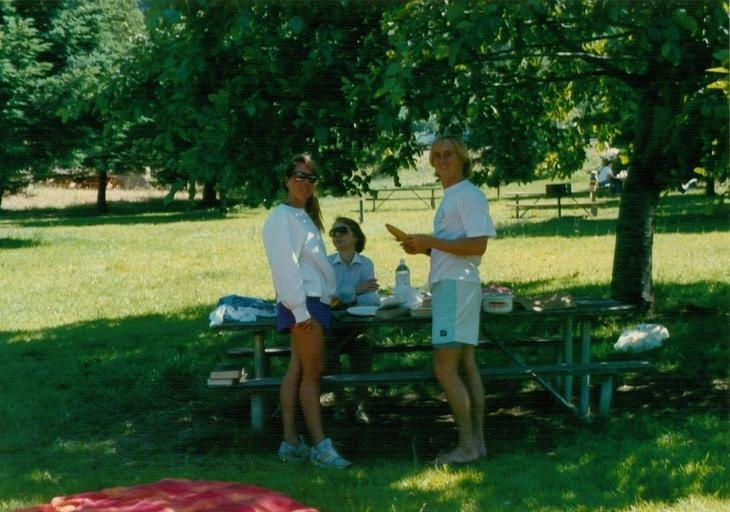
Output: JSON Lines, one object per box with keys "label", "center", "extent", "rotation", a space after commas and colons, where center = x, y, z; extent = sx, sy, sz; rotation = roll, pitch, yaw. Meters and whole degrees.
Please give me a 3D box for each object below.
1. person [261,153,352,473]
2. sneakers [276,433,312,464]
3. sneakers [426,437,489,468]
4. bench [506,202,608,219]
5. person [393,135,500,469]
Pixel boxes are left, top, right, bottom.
{"label": "person", "center": [-0.478, 0.428, 8.961], "extent": [0.644, 2.432, 0.442], "rotation": [-1, 1, -8]}
{"label": "sneakers", "center": [-0.557, 1.539, 8.968], "extent": [0.247, 0.169, 0.134], "rotation": [-3, 2, -8]}
{"label": "sneakers", "center": [0.715, 1.539, 8.862], "extent": [0.499, 0.218, 0.153], "rotation": [1, -11, 0]}
{"label": "bench", "center": [1.794, -0.415, 10.772], "extent": [0.946, 0.135, 0.210], "rotation": [-1, 0, -29]}
{"label": "person", "center": [0.678, 0.343, 8.893], "extent": [0.650, 2.539, 0.372], "rotation": [-1, 1, 2]}
